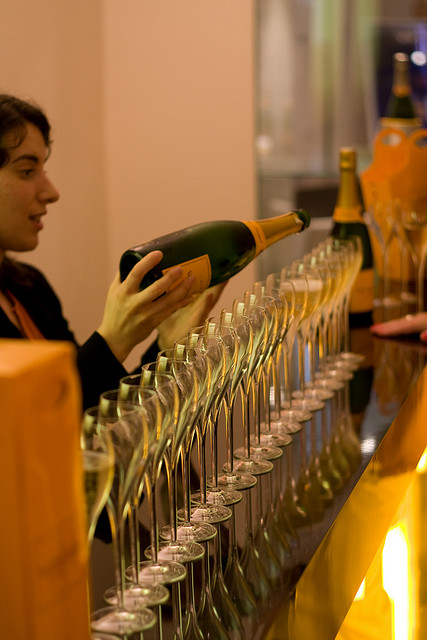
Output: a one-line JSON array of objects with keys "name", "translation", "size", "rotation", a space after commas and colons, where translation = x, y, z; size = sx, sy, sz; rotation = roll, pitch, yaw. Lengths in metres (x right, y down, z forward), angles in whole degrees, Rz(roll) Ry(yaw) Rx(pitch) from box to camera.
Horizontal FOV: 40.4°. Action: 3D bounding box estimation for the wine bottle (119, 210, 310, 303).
[{"name": "wine bottle", "translation": [0.007, -0.133, 1.033], "size": [0.147, 0.160, 0.444], "rotation": [15, 14, 30]}]
